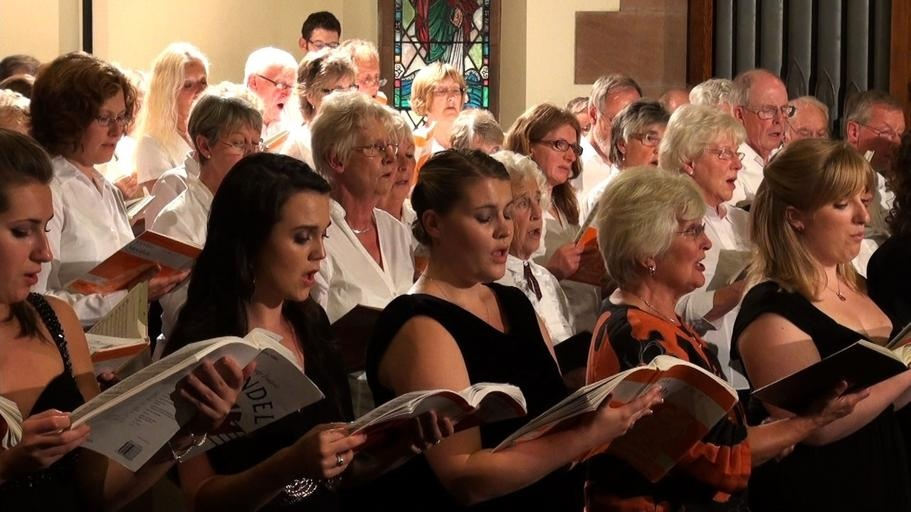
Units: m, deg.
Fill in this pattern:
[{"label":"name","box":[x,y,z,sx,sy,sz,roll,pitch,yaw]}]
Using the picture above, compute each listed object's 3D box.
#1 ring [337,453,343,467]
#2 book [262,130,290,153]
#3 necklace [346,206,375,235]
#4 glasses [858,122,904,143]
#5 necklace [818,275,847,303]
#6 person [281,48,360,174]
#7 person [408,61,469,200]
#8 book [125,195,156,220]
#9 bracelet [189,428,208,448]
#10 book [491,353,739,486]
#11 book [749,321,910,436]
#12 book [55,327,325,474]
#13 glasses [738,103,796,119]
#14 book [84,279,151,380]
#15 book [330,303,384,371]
[{"label":"ring","box":[-0.421,0.741,2.712,0.027,0.037,0.014,3,-13,-24]},{"label":"book","box":[-1.361,-0.873,5.662,0.182,0.145,0.636,-2,9,-12]},{"label":"necklace","box":[-0.576,-0.206,4.437,0.118,0.137,0.052,-6,5,-20]},{"label":"glasses","box":[3.964,-1.162,6.876,0.194,0.060,0.192,10,15,-37]},{"label":"necklace","box":[1.861,0.161,3.694,0.156,0.143,0.046,4,-4,-22]},{"label":"person","box":[-1.090,-1.191,5.885,0.586,0.928,0.751,-1,9,-9]},{"label":"person","box":[-0.151,-1.172,6.846,0.507,1.198,0.544,-2,3,25]},{"label":"book","box":[-2.034,-0.309,4.806,0.154,0.036,0.151,-37,-5,23]},{"label":"bracelet","box":[-0.965,0.683,2.795,0.053,0.056,0.064,3,32,-10]},{"label":"book","box":[0.813,0.587,2.978,0.733,0.175,0.673,-24,-36,25]},{"label":"book","box":[1.659,0.516,3.498,0.662,0.255,0.607,31,-48,-30]},{"label":"book","box":[-0.959,0.531,2.720,0.753,0.227,0.562,-32,-34,9]},{"label":"glasses","box":[2.572,-1.204,6.201,0.237,0.072,0.241,0,-1,-12]},{"label":"book","box":[-1.516,0.337,3.335,0.353,0.139,0.430,-27,42,-23]},{"label":"book","box":[-0.455,0.386,3.450,0.207,0.289,0.208,-22,40,-16]}]
